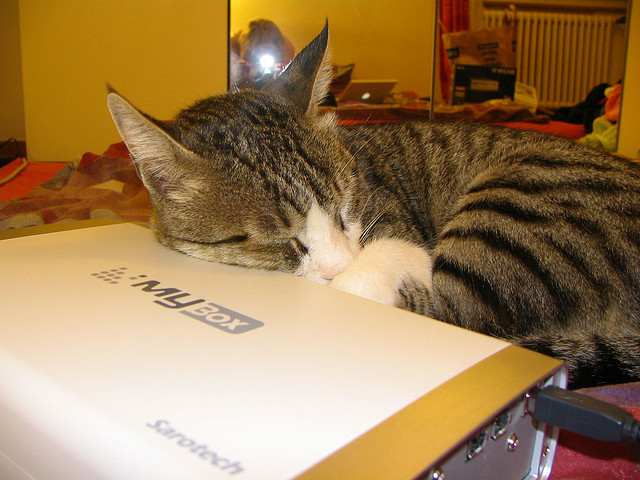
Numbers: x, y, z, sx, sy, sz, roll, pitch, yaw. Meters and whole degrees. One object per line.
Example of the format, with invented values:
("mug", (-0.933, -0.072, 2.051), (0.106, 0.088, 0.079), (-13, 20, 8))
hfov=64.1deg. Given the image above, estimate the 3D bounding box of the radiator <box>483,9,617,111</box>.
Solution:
("radiator", (1.256, -1.018, 2.819), (0.654, 0.433, 0.069), (-2, 14, -2))
